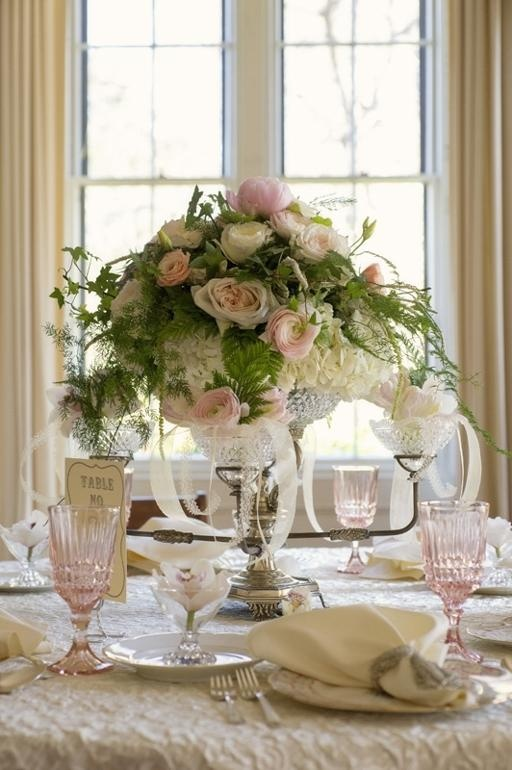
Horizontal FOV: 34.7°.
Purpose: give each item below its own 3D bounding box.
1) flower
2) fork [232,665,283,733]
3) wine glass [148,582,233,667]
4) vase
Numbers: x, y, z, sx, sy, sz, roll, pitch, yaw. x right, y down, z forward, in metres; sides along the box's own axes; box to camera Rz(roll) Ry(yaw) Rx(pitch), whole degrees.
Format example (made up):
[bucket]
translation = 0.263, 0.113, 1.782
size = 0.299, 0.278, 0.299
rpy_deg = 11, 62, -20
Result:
[flower]
translation = 0.012, -0.088, 1.227
size = 0.488, 0.279, 0.474
rpy_deg = 9, 6, -39
[fork]
translation = 0.007, 0.283, 0.742
size = 0.015, 0.011, 0.080
rpy_deg = 6, 16, -14
[wine glass]
translation = -0.064, 0.249, 0.864
size = 0.090, 0.087, 0.088
rpy_deg = 3, -10, -7
[vase]
translation = 0.005, 0.167, 1.145
size = 0.302, 0.207, 0.290
rpy_deg = -5, -6, 6
